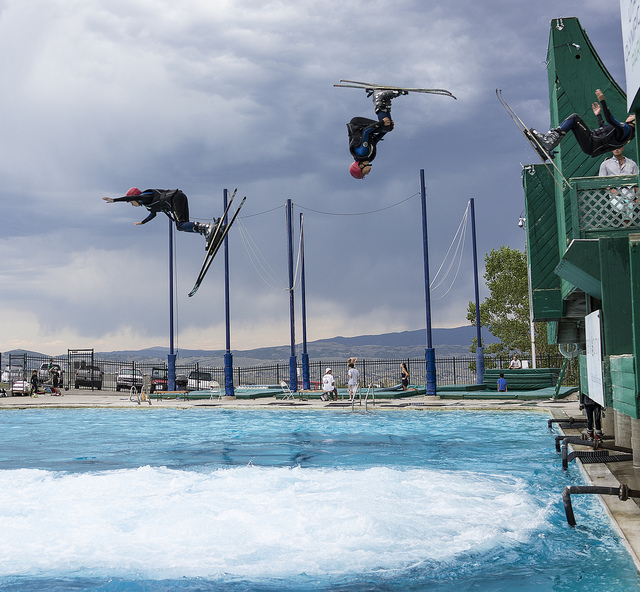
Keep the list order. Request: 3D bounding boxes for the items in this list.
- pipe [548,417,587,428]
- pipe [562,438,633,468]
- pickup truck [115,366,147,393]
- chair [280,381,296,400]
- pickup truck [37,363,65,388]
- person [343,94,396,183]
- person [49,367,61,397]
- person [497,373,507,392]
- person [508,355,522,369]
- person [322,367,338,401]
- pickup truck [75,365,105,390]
[{"bbox_3d":[5.742,2.872,19.398,0.811,0.227,1.026,-2,0,12],"label":"pipe"},{"bbox_3d":[5.086,2.886,15.454,1.208,0.569,0.694,-2,0,17],"label":"pipe"},{"bbox_3d":[-9.816,4.279,43.745,1.651,1.124,2.759,1,2,-5],"label":"pickup truck"},{"bbox_3d":[-1.297,3.674,33.148,0.717,0.919,0.527,-4,-4,27],"label":"chair"},{"bbox_3d":[-14.521,4.222,45.682,1.643,1.496,2.685,0,-14,-9],"label":"pickup truck"},{"bbox_3d":[1.276,-3.863,20.417,1.195,0.986,2.200,-2,-29,5],"label":"person"},{"bbox_3d":[-12.556,4.059,40.042,0.383,1.242,2.086,-3,0,-18],"label":"person"},{"bbox_3d":[6.570,3.161,30.067,0.316,0.611,1.078,-3,0,12],"label":"person"},{"bbox_3d":[8.098,2.725,34.490,0.400,0.547,2.332,-3,0,14],"label":"person"},{"bbox_3d":[0.389,3.237,30.923,0.550,1.144,1.608,-3,0,1],"label":"person"},{"bbox_3d":[-12.005,4.220,43.674,1.368,1.162,1.442,-2,0,-15],"label":"pickup truck"}]
